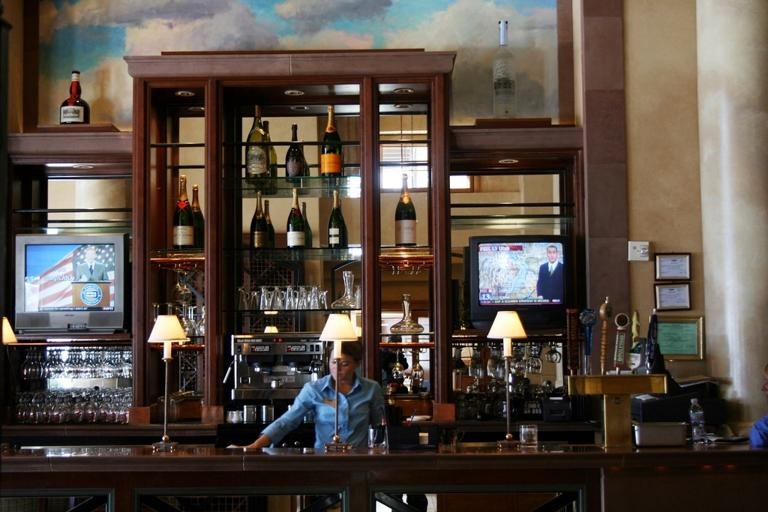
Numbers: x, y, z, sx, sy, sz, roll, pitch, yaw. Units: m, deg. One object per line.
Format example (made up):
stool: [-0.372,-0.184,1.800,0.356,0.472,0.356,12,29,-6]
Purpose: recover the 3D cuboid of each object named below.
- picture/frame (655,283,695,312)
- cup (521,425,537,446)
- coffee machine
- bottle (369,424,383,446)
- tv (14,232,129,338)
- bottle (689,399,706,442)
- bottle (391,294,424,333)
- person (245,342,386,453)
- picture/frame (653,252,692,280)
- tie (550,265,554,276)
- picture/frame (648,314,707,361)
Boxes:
picture/frame: [2.423,0.351,9.570,0.237,0.210,0.019,1,-5,1]
cup: [1.007,1.275,8.071,0.120,0.139,0.122,1,-2,0]
coffee machine: [-0.902,0.902,9.488,0.936,0.682,0.526,0,-9,-3]
bottle: [-0.092,1.283,8.122,0.097,0.147,0.147,2,-9,-3]
tv: [-2.640,0.257,9.592,0.802,0.772,0.290,-1,-7,-1]
bottle: [2.257,1.185,8.212,0.101,0.293,0.378,-2,-5,15]
bottle: [0.183,0.496,9.565,0.273,0.317,0.284,-7,-9,37]
person: [-0.441,1.036,8.468,0.908,0.782,0.533,3,-6,-40]
picture/frame: [2.412,0.090,9.570,0.219,0.193,0.022,1,-5,-2]
tie: [1.406,0.116,9.619,0.044,0.057,0.008,0,-5,-1]
picture/frame: [2.419,0.669,9.359,0.452,0.444,0.032,0,0,8]
